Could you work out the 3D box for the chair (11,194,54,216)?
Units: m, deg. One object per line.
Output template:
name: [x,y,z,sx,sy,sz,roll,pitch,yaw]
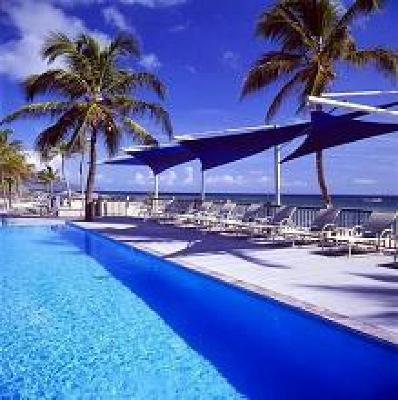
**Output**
chair: [-9.771,0.269,19.790,2.107,1.146,3.299,3,-1,-31]
